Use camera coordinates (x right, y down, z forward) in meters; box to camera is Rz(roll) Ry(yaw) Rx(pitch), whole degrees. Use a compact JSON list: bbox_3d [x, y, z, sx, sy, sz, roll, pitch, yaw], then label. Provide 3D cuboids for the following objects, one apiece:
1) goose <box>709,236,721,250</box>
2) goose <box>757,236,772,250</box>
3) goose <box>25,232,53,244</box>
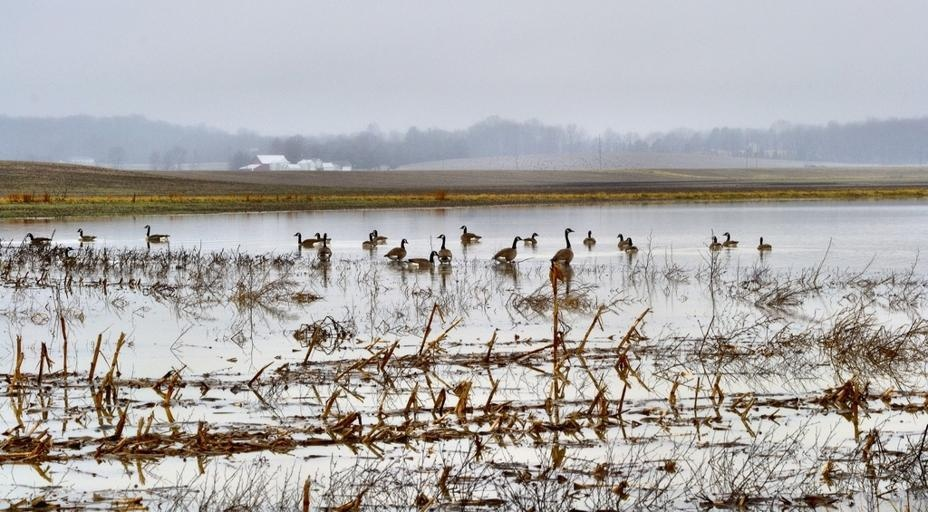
[{"bbox_3d":[13.295,-0.664,67.553,0.322,0.889,0.701,-8,41,26],"label":"goose"},{"bbox_3d":[15.616,-0.575,66.174,0.674,0.747,1.059,1,9,-5],"label":"goose"},{"bbox_3d":[-22.923,-0.938,69.429,1.097,0.686,0.398,-15,16,-16],"label":"goose"}]
